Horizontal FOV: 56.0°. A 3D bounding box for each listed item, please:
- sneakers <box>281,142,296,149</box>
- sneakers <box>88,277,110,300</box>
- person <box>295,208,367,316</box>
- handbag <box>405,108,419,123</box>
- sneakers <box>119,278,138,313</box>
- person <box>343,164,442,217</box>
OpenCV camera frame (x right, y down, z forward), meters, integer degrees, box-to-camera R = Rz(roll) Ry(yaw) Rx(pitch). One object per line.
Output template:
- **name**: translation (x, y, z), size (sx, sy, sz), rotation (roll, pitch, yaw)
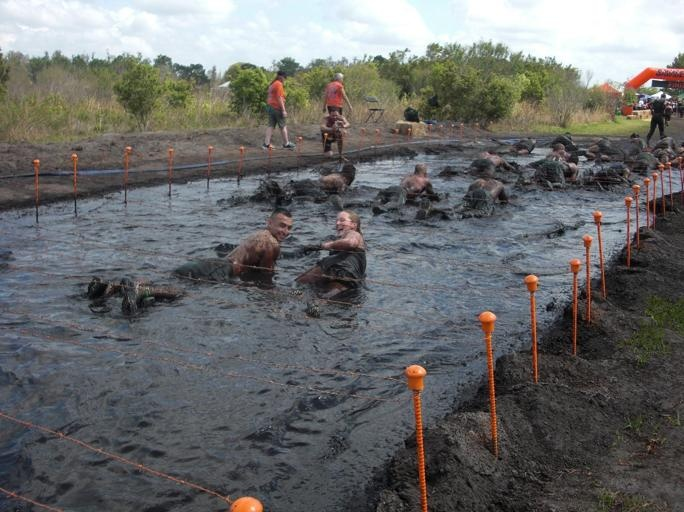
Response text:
- **sneakers**: translation (-1.636, -3.662, 21.141), size (0.653, 0.242, 0.262), rotation (-11, 17, -44)
- **sneakers**: translation (-3.368, 0.446, 8.854), size (0.323, 0.319, 0.162), rotation (-2, 13, -9)
- **person**: translation (-0.190, 0.141, 10.318), size (1.135, 0.757, 1.732), rotation (14, 30, -2)
- **handbag**: translation (3.438, -7.103, 31.989), size (0.663, 0.684, 0.827), rotation (0, 12, 1)
- **sneakers**: translation (-2.923, 0.500, 8.723), size (0.227, 0.549, 0.246), rotation (-12, -32, 2)
- **person**: translation (1.355, -1.627, 15.453), size (2.407, 0.834, 1.082), rotation (-23, 34, -38)
